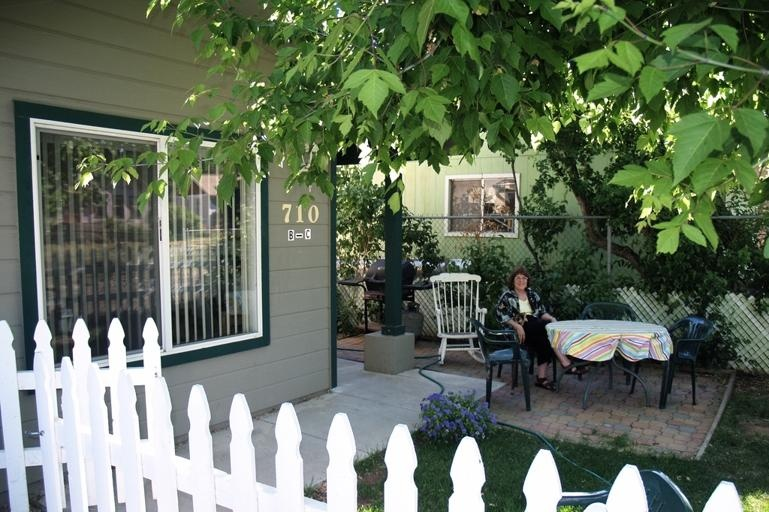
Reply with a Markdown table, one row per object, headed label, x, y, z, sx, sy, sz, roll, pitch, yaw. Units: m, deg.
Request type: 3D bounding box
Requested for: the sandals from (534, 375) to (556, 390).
| label | x | y | z | sx | sy | sz | roll | pitch | yaw |
| --- | --- | --- | --- | --- | --- | --- | --- | --- | --- |
| sandals | 2.127 | 1.677 | 7.899 | 0.121 | 0.109 | 0.246 | -2 | 1 | -35 |
